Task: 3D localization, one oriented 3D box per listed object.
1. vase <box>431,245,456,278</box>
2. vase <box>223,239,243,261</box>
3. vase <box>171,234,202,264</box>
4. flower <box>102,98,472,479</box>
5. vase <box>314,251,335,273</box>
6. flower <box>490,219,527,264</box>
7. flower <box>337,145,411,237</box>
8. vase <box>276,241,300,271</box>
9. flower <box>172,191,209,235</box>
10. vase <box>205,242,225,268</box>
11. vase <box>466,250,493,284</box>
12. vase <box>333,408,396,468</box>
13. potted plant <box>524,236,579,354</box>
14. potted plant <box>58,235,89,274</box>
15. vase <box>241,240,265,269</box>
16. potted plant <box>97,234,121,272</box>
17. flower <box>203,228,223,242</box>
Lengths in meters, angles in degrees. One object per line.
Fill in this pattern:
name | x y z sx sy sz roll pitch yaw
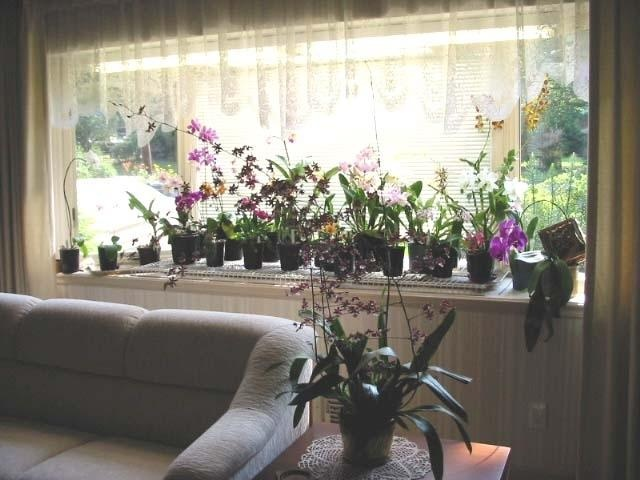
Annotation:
vase | 0.587 0.106 2.808 0.152 0.161 0.140 3 -5 -32
vase | -0.477 0.056 3.219 0.098 0.117 0.118 1 0 8
vase | -0.710 0.043 3.062 0.192 0.165 0.188 2 2 28
flower | -0.095 0.216 2.560 1.561 1.918 0.931 0 -2 -1
vase | 0.019 0.102 2.783 0.102 0.085 0.107 0 0 -6
flower | 0.849 -0.004 2.637 0.167 0.190 0.154 -1 4 6
flower | 0.295 -0.156 2.840 0.336 0.473 0.300 -1 -19 -37
vase | -0.158 0.084 2.957 0.135 0.160 0.143 0 -3 3
flower | -0.709 -0.156 3.074 0.220 0.258 0.224 4 -1 -8
vase | -0.561 0.081 3.079 0.117 0.144 0.116 1 0 -31
vase | 0.765 0.122 2.722 0.150 0.169 0.125 -1 0 14
vase | 0.161 0.680 2.035 0.197 0.188 0.175 2 -5 -17
potted plant | 1.016 0.263 2.543 0.259 0.441 0.154 -1 4 1
potted plant | -1.434 0.090 3.417 0.123 0.196 0.217 0 4 16
vase | -0.331 0.082 2.994 0.123 0.152 0.135 0 -2 3
potted plant | -1.196 0.092 3.342 0.101 0.157 0.209 2 2 -8
flower | -0.569 -0.030 3.114 0.064 0.071 0.071 0 5 3
